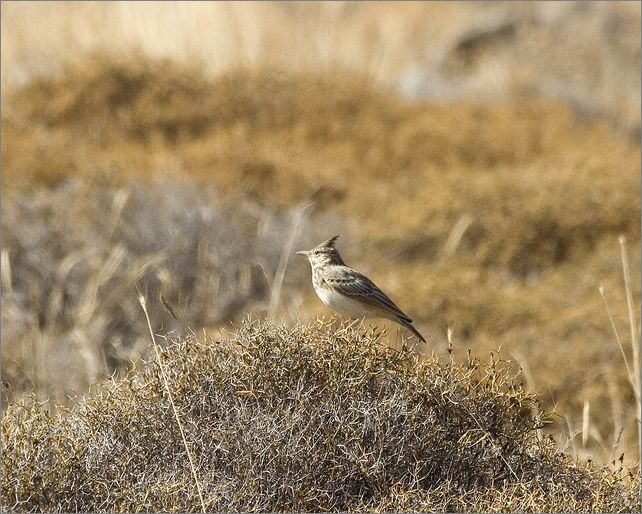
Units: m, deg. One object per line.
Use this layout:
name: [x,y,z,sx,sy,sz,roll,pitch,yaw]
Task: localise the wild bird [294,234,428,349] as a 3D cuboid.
wild bird: [0.263,0.264,10.334,0.394,0.700,0.912,-22,8,-39]
